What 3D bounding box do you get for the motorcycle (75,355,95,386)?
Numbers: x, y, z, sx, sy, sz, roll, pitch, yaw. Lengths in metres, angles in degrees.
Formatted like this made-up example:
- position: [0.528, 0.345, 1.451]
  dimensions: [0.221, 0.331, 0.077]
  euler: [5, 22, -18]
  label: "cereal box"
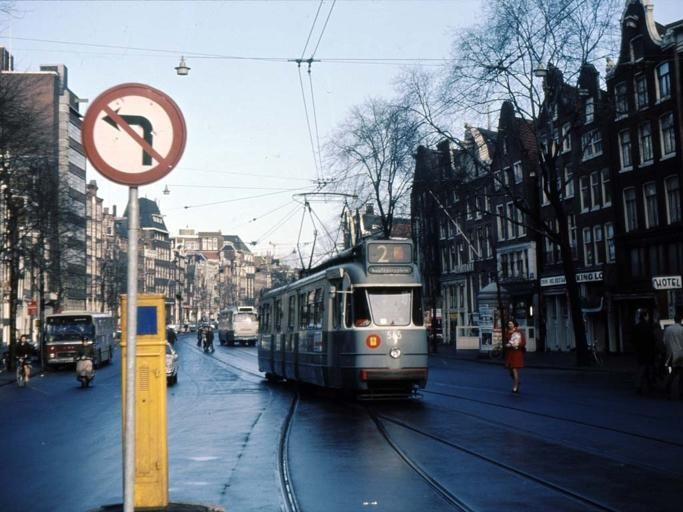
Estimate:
- position: [-9.159, 3.970, 28.281]
  dimensions: [0.608, 1.028, 1.676]
  euler: [-1, 7, -11]
  label: "motorcycle"
